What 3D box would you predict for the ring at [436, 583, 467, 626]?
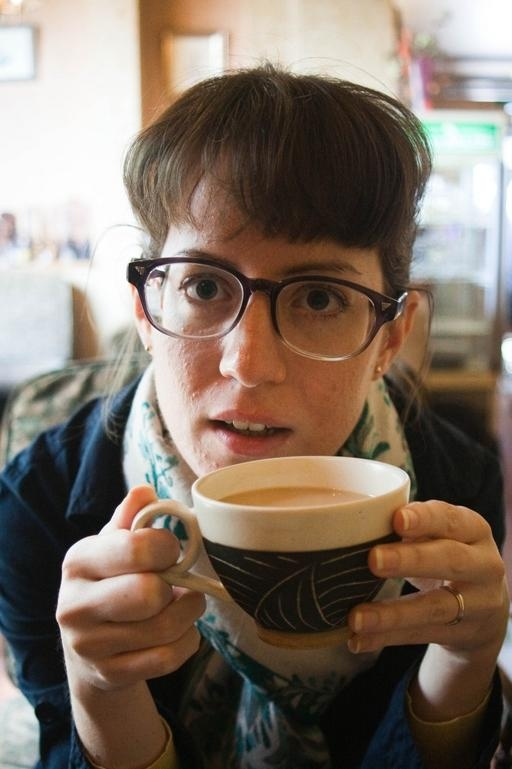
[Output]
[{"bbox_3d":[0.192,0.220,0.683,0.029,0.032,0.011,-13,-9,-23],"label":"ring"}]
